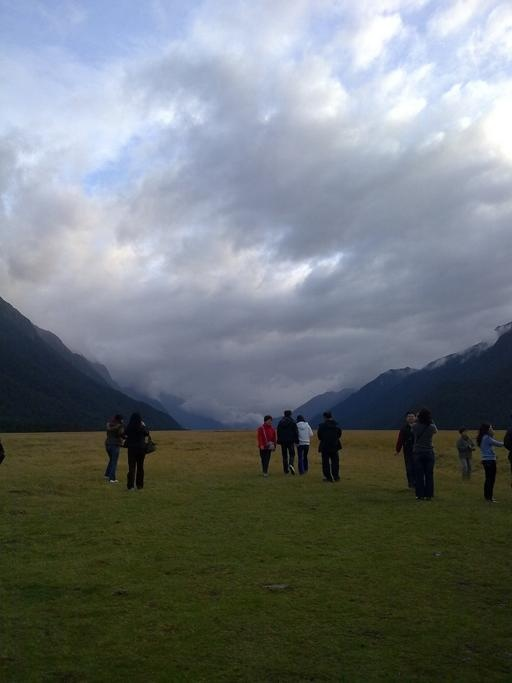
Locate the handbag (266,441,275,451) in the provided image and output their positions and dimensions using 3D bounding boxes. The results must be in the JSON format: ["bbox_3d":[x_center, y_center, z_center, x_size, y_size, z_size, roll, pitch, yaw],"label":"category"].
[{"bbox_3d":[0.631,4.305,22.306,0.368,0.382,0.279,1,-36,21],"label":"handbag"}]

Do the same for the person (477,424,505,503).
[{"bbox_3d":[7.257,3.665,16.463,0.838,2.268,1.023,11,-13,-38],"label":"person"}]
